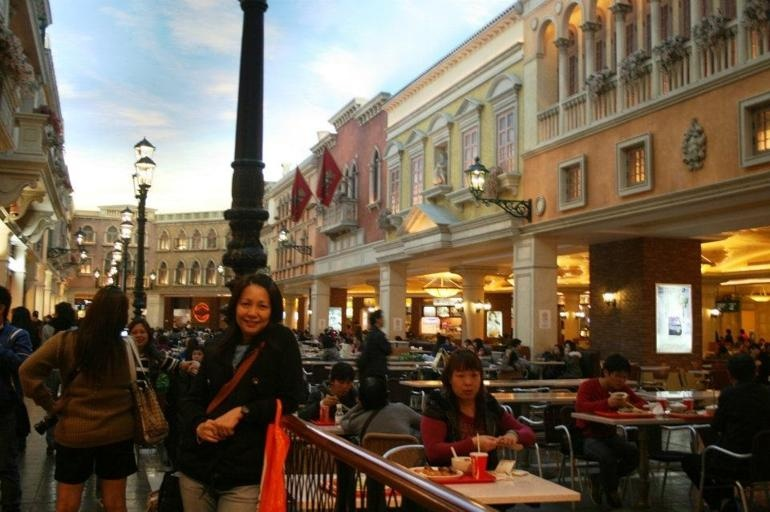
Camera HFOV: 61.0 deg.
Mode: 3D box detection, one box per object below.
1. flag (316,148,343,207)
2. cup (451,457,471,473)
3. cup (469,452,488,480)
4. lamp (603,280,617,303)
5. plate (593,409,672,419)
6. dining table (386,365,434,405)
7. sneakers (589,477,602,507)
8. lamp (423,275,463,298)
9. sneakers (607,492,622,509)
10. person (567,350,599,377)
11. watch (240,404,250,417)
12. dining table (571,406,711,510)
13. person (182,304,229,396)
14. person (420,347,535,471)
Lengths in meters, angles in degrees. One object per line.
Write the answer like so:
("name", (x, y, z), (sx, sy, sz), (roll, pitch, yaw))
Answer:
("flag", (-2.684, -3.763, 31.640), (0.928, 2.679, 2.439), (2, -8, -9))
("cup", (0.689, 1.896, 5.962), (0.149, 0.086, 0.150), (-2, -10, 0))
("cup", (0.842, 1.904, 5.911), (0.218, 0.220, 0.230), (-1, -10, 0))
("lamp", (6.913, 1.093, 20.349), (0.252, 0.754, 0.693), (3, -8, -14))
("plate", (3.468, 2.219, 9.180), (1.035, 0.075, 0.511), (2, -8, -7))
("dining table", (0.482, 3.438, 16.742), (0.871, 0.976, 1.529), (-10, -8, -4))
("sneakers", (2.985, 3.393, 9.389), (0.146, 0.337, 0.158), (-5, -5, -22))
("lamp", (3.469, 1.854, 39.658), (1.826, 1.056, 1.666), (2, -6, 0))
("sneakers", (3.196, 3.410, 9.167), (0.207, 0.231, 0.224), (-2, -8, 17))
("person", (5.626, 3.101, 18.717), (0.917, 0.666, 0.928), (5, -8, -27))
("watch", (-1.104, 1.215, 5.161), (0.056, 0.074, 0.071), (1, -19, -14))
("dining table", (3.538, 2.889, 9.465), (1.611, 1.216, 1.539), (5, -8, -23))
("person", (-2.862, 1.737, 10.380), (0.577, 1.167, 1.478), (8, -46, -16))
("person", (0.839, 1.448, 6.250), (0.964, 1.091, 0.429), (0, -8, 3))
